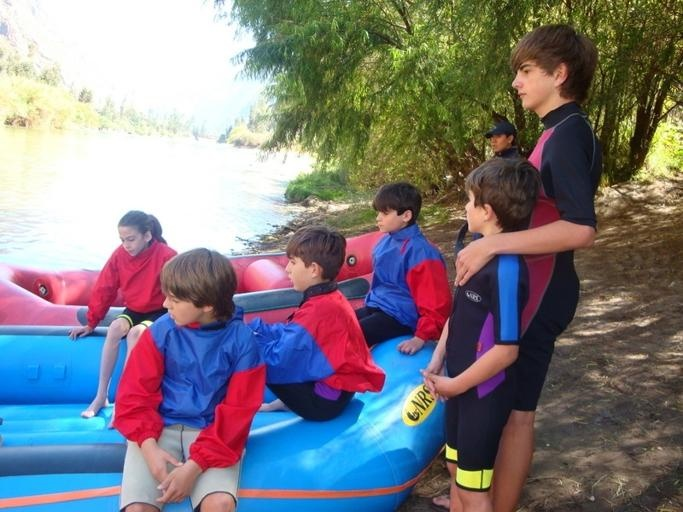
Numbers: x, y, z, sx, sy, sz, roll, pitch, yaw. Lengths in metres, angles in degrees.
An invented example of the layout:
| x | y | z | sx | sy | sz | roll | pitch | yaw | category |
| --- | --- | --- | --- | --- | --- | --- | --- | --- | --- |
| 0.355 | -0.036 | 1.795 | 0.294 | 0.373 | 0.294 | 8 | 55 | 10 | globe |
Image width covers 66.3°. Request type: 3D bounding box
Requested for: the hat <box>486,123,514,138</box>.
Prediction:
| x | y | z | sx | sy | sz | roll | pitch | yaw | category |
| --- | --- | --- | --- | --- | --- | --- | --- | --- | --- |
| 1.662 | -1.303 | 5.443 | 0.231 | 0.136 | 0.172 | 1 | 6 | -5 | hat |
